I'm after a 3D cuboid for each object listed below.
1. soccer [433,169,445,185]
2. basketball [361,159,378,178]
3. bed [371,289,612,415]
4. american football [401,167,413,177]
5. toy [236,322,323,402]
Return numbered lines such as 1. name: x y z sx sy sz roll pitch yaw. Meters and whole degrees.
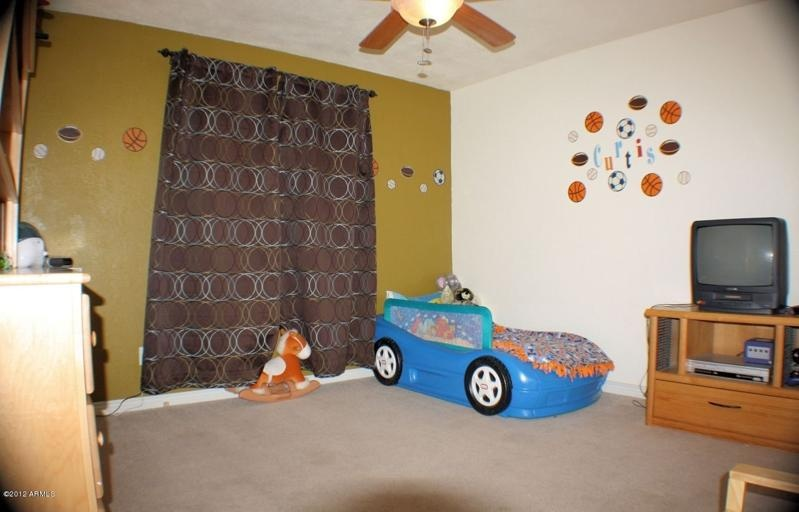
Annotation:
1. soccer: 0.418 -0.829 5.908 0.120 0.164 0.052 -6 3 -19
2. basketball: -0.287 -0.844 5.387 0.116 0.195 0.316 2 1 19
3. bed: 0.751 0.761 4.748 1.464 0.669 0.991 -1 -1 41
4. american football: 0.079 -0.854 5.701 0.153 0.112 0.014 0 2 -32
5. toy: -1.034 0.953 4.768 0.691 0.579 0.201 1 2 -16
